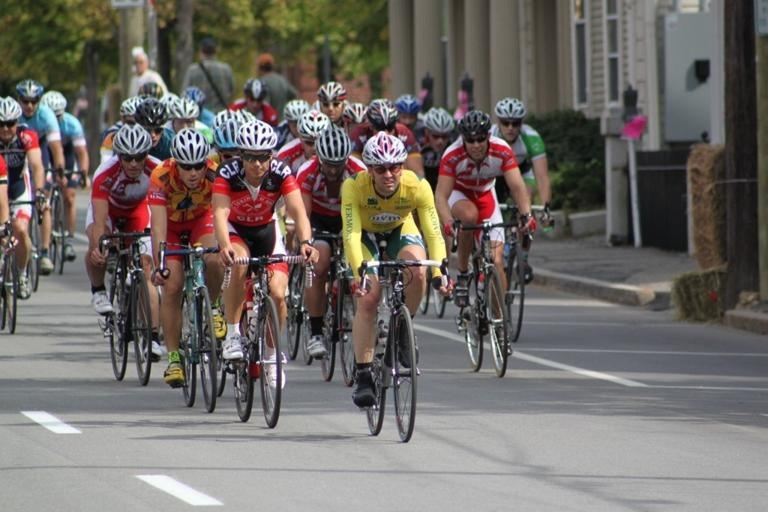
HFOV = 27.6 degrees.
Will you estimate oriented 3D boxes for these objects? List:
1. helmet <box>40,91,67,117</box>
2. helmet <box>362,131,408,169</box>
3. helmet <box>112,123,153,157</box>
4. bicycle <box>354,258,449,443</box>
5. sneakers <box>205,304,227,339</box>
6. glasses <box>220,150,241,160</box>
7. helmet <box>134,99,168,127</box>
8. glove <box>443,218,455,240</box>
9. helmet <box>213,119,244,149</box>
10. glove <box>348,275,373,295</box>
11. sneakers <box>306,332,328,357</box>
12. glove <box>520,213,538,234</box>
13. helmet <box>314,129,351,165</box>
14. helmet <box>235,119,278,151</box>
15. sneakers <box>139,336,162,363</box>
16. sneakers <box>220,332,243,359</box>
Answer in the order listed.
[{"bbox_3d":[-4.921,-2.296,23.466,0.299,0.357,0.383,-8,20,-17],"label":"helmet"},{"bbox_3d":[0.031,-1.021,15.015,0.400,0.326,0.201,0,9,0],"label":"helmet"},{"bbox_3d":[-2.691,-1.253,16.852,0.385,0.325,0.294,-3,10,-15],"label":"helmet"},{"bbox_3d":[0.161,0.887,14.997,0.676,1.715,1.312,0,10,2],"label":"bicycle"},{"bbox_3d":[-1.720,0.709,16.450,0.144,0.412,0.161,-16,-6,-16],"label":"sneakers"},{"bbox_3d":[-1.579,-1.070,16.431,0.089,0.105,0.114,-17,-14,-38],"label":"glasses"},{"bbox_3d":[-2.661,-1.645,17.970,0.264,0.234,0.360,-3,25,-11],"label":"helmet"},{"bbox_3d":[0.771,-0.315,17.357,0.077,0.207,0.147,5,-13,-12],"label":"glove"},{"bbox_3d":[-1.655,-1.301,16.561,0.275,0.399,0.165,6,-42,-6],"label":"helmet"},{"bbox_3d":[-0.188,0.277,14.866,0.133,0.120,0.217,1,8,-23],"label":"glove"},{"bbox_3d":[-0.698,0.967,16.933,0.262,0.208,0.374,-3,-9,-5],"label":"sneakers"},{"bbox_3d":[1.735,-0.373,18.081,0.216,0.198,0.159,39,-24,-21],"label":"glove"},{"bbox_3d":[-0.494,-1.134,16.055,0.341,0.369,0.231,-1,10,-2],"label":"helmet"},{"bbox_3d":[-1.263,-1.201,15.604,0.330,0.175,0.471,2,29,-7],"label":"helmet"},{"bbox_3d":[-2.470,1.000,16.793,0.145,0.177,0.405,-3,8,-24],"label":"sneakers"},{"bbox_3d":[-1.482,0.898,15.509,0.203,0.243,0.224,-1,10,-6],"label":"sneakers"}]
